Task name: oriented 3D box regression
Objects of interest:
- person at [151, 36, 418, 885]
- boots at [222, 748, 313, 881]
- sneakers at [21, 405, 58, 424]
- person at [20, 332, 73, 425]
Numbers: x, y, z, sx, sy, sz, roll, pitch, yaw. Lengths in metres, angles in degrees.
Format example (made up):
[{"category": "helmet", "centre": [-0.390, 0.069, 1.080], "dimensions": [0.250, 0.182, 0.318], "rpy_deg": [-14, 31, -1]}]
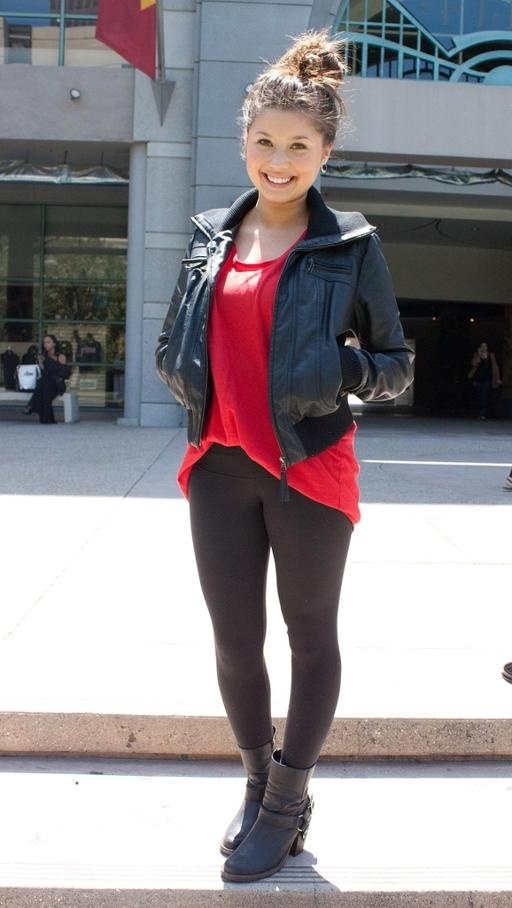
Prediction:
[{"category": "person", "centre": [0.045, -0.017, 2.511], "dimensions": [0.624, 2.057, 0.355], "rpy_deg": [5, 5, 7]}, {"category": "boots", "centre": [0.032, 0.871, 2.488], "dimensions": [0.115, 0.256, 0.276], "rpy_deg": [13, 14, 39]}, {"category": "sneakers", "centre": [-3.025, -0.592, 14.730], "dimensions": [0.194, 0.251, 0.612], "rpy_deg": [7, -3, -3]}, {"category": "person", "centre": [-2.965, -1.103, 14.774], "dimensions": [0.534, 1.224, 1.093], "rpy_deg": [3, 6, -11]}]
